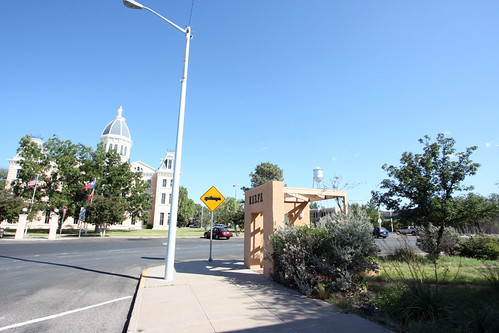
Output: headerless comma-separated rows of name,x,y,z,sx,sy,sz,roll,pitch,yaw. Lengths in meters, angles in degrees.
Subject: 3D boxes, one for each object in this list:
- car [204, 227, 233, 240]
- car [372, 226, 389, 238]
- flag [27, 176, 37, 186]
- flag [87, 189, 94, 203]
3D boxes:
car,-3.798,7.681,40.295,3.467,1.162,1.602,-5,-10,44
car,15.406,7.706,41.006,1.151,1.407,3.247,-5,-14,26
flag,-23.684,1.650,38.137,0.735,0.933,1.079,10,-15,-36
flag,-19.966,3.717,43.811,0.311,0.792,2.148,46,-31,0
